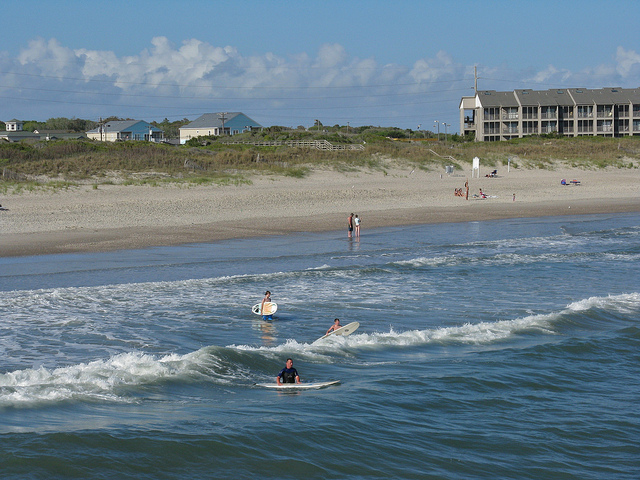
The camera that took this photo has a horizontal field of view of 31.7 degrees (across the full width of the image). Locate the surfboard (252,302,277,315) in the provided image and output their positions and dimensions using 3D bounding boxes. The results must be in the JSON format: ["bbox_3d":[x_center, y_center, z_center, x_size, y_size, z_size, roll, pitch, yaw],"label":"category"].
[{"bbox_3d":[-1.808,2.543,41.543,0.901,0.557,0.654,4,14,13],"label":"surfboard"}]

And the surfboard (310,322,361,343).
[{"bbox_3d":[0.819,3.337,39.758,1.612,0.576,0.576,-5,15,-24],"label":"surfboard"}]

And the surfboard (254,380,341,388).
[{"bbox_3d":[-0.592,4.782,36.962,2.511,0.175,0.402,1,13,2],"label":"surfboard"}]
